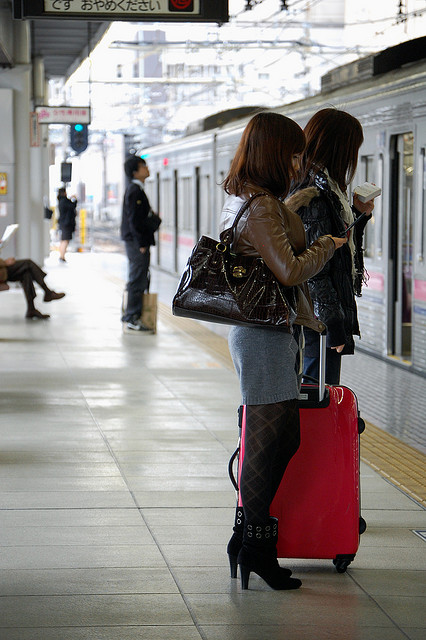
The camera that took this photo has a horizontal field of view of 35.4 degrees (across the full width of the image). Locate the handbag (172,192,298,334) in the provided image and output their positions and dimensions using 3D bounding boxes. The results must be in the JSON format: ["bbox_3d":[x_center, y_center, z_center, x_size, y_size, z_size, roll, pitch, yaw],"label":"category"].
[{"bbox_3d":[0.066,-0.171,2.016,0.373,0.430,0.219,-1,1,6],"label":"handbag"}]

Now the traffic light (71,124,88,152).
[{"bbox_3d":[-3.692,-5.122,18.732,0.426,0.688,0.290,-2,1,-12],"label":"traffic light"}]

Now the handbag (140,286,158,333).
[{"bbox_3d":[-0.889,-0.131,9.466,0.249,0.628,0.651,1,7,-8],"label":"handbag"}]

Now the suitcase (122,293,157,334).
[{"bbox_3d":[-0.978,-0.090,9.556,0.414,0.596,0.385,-1,5,13],"label":"suitcase"}]

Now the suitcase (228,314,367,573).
[{"bbox_3d":[0.296,0.429,2.356,0.461,0.845,0.275,2,-17,3],"label":"suitcase"}]

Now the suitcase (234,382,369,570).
[{"bbox_3d":[0.317,0.523,2.374,0.434,0.628,0.372,0,-8,5],"label":"suitcase"}]

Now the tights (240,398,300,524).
[{"bbox_3d":[0.211,0.432,2.081,0.232,0.385,0.117,-2,1,-28],"label":"tights"}]

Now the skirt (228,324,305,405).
[{"bbox_3d":[0.163,0.136,2.043,0.208,0.240,0.123,-1,1,-1],"label":"skirt"}]

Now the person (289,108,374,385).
[{"bbox_3d":[0.477,-0.209,2.751,0.410,1.274,0.364,9,33,24],"label":"person"}]
